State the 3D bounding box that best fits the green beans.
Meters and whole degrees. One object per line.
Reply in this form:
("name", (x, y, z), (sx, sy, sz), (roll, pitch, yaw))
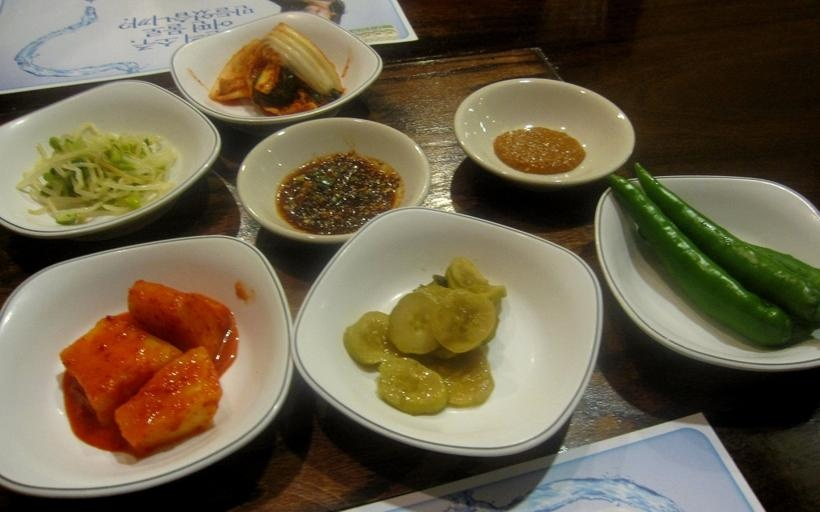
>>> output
("green beans", (-1.706, -0.459, 3.216), (0.800, 0.238, 0.560), (-33, 64, -14))
